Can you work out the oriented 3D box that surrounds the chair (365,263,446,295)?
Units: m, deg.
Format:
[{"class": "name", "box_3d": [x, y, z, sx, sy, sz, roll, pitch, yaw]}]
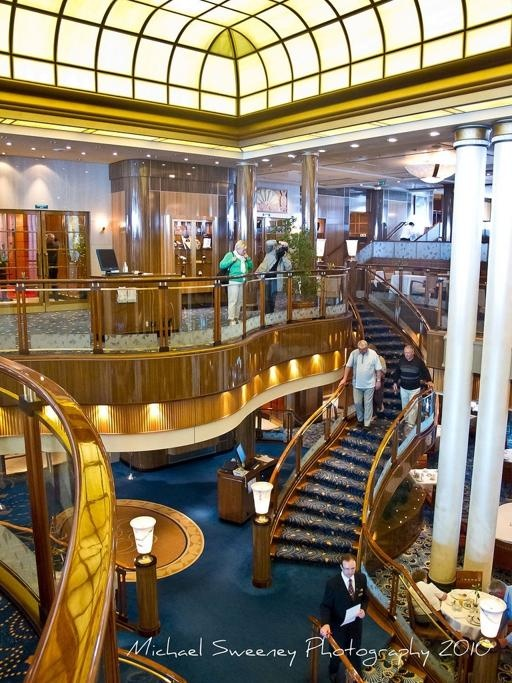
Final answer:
[{"class": "chair", "box_3d": [4.370, -1.688, 13.333, 0.431, 0.862, 2.964, -4, 6, -21]}]

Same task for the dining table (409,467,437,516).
[{"class": "dining table", "box_3d": [4.318, 3.814, 12.216, 0.607, 0.905, 1.047, -1, 6, 18]}]

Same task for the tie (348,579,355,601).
[{"class": "tie", "box_3d": [0.994, 2.566, 4.930, 0.062, 0.241, 0.048, -1, 6, 12]}]

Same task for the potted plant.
[{"class": "potted plant", "box_3d": [1.326, -2.094, 12.055, 0.960, 2.472, 0.953, 1, 14, 14]}]

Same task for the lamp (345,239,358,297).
[{"class": "lamp", "box_3d": [3.353, -2.333, 16.319, 0.395, 2.147, 0.437, 3, 21, 24]}]

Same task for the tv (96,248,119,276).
[{"class": "tv", "box_3d": [-3.129, -1.671, 10.113, 0.388, 0.591, 0.752, -4, 6, -17]}]

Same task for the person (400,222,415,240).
[{"class": "person", "box_3d": [7.447, -5.339, 23.198, 0.840, 0.902, 0.585, -3, 6, -4]}]

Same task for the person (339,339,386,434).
[{"class": "person", "box_3d": [2.373, 1.015, 10.492, 0.747, 2.112, 1.076, -3, 6, -9]}]

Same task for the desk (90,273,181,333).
[{"class": "desk", "box_3d": [-2.021, -0.867, 7.939, 1.558, 1.087, 0.844, -7, 12, -36]}]

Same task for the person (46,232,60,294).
[{"class": "person", "box_3d": [-5.870, -2.461, 13.772, 0.370, 1.263, 0.131, -6, 7, -32]}]

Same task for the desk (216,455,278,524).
[{"class": "desk", "box_3d": [-0.183, 3.410, 11.044, 0.826, 1.107, 1.596, 4, 4, 27]}]
